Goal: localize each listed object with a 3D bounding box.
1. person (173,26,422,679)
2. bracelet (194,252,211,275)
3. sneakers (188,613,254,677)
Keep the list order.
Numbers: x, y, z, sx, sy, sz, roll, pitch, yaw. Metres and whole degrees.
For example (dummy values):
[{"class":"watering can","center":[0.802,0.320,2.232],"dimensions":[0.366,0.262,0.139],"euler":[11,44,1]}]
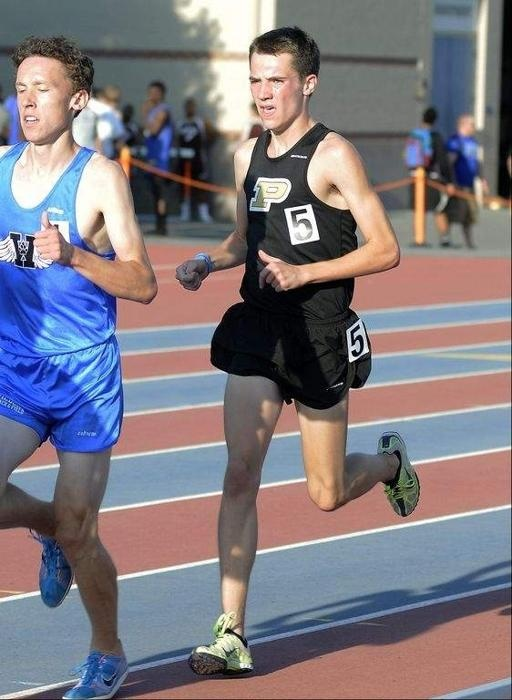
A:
[{"class":"person","center":[0.103,-0.105,2.794],"dimensions":[0.748,2.097,1.318],"euler":[1,2,6]},{"class":"bracelet","center":[-0.180,-0.305,2.860],"dimensions":[0.050,0.072,0.056],"euler":[-41,9,-1]},{"class":"sneakers","center":[-0.139,0.836,2.266],"dimensions":[0.094,0.184,0.257],"euler":[-23,-29,36]}]
